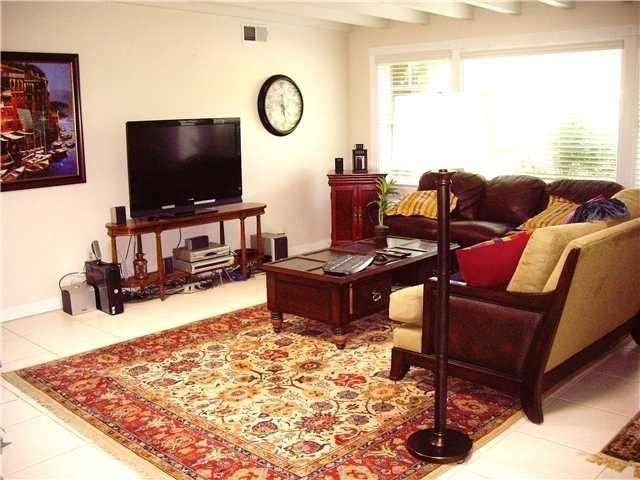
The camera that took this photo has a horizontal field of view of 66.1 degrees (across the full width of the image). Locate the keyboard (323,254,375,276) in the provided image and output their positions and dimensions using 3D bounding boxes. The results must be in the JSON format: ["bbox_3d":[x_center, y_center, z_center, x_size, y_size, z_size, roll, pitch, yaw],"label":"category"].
[{"bbox_3d":[0.236,0.204,4.081,0.192,0.042,0.306,7,18,35],"label":"keyboard"}]

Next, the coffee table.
[{"bbox_3d":[0.124,0.366,4.280,0.943,0.478,1.887,9,16,42],"label":"coffee table"}]

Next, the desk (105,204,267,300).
[{"bbox_3d":[-1.389,0.101,5.598,1.914,0.716,0.669,-13,15,-41],"label":"desk"}]

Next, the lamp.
[{"bbox_3d":[0.627,0.415,2.541,0.434,1.546,0.304,-20,22,-41],"label":"lamp"}]

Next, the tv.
[{"bbox_3d":[-1.508,-0.797,5.349,1.441,0.796,0.102,-10,17,-42],"label":"tv"}]

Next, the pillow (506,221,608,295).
[{"bbox_3d":[1.359,0.118,2.829,0.487,0.349,0.161,-12,39,-45],"label":"pillow"}]

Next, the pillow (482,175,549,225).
[{"bbox_3d":[2.303,-0.459,5.815,0.702,0.408,0.394,4,17,44],"label":"pillow"}]

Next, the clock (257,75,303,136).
[{"bbox_3d":[-0.487,-1.837,6.698,0.231,0.750,0.903,9,10,21],"label":"clock"}]

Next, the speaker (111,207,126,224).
[{"bbox_3d":[-2.010,-0.247,4.941,0.152,0.168,0.103,17,29,29],"label":"speaker"}]

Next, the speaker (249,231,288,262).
[{"bbox_3d":[-0.615,0.054,6.301,0.462,0.354,0.424,3,11,16],"label":"speaker"}]
